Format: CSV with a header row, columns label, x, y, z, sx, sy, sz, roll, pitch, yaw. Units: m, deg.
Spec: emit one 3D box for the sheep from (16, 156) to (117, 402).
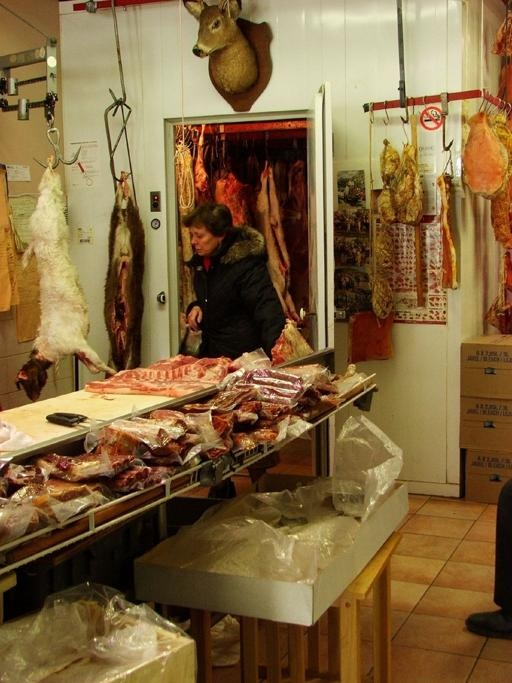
label,x,y,z,sx,sy,sz,roll,pitch,yaw
sheep,-0.708,-0.190,2.055,0.385,0.760,0.330,-6,-4,18
